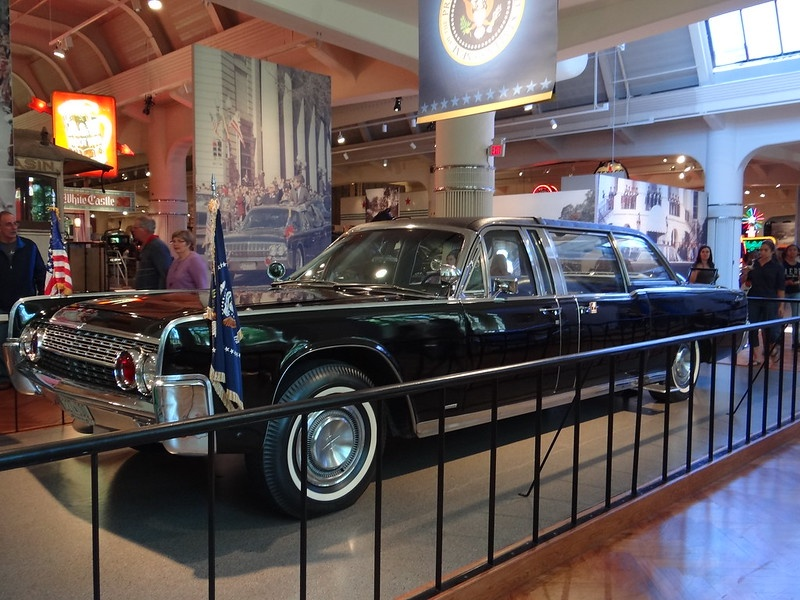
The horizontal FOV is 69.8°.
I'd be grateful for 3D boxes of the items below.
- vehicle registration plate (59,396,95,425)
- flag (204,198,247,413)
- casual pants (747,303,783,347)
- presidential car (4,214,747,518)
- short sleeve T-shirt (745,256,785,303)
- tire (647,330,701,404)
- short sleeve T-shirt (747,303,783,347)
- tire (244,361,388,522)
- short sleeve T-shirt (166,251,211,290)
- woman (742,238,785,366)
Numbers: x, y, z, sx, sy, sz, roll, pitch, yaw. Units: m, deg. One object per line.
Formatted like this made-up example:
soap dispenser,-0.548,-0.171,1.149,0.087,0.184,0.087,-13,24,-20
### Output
vehicle registration plate,-2.050,0.701,3.642,0.246,0.074,0.245,7,9,-11
flag,-1.026,0.034,3.330,0.184,1.165,0.389,-4,8,-15
casual pants,5.776,0.345,9.159,0.475,0.852,0.299,-4,5,17
presidential car,0.635,0.313,5.185,6.042,1.676,2.449,1,-1,-40
short sleeve T-shirt,6.040,-0.390,9.443,0.316,0.830,0.607,-15,23,-19
tire,3.028,0.738,6.374,0.916,0.890,0.312,1,-1,-38
short sleeve T-shirt,5.763,0.353,9.138,0.481,0.857,0.299,-4,0,15
tire,-0.661,0.835,3.898,0.926,0.932,0.954,-3,9,44
short sleeve T-shirt,-2.407,-0.330,6.500,0.578,0.462,0.326,1,-1,28
woman,5.863,0.051,9.209,0.634,1.994,0.688,1,-2,29
